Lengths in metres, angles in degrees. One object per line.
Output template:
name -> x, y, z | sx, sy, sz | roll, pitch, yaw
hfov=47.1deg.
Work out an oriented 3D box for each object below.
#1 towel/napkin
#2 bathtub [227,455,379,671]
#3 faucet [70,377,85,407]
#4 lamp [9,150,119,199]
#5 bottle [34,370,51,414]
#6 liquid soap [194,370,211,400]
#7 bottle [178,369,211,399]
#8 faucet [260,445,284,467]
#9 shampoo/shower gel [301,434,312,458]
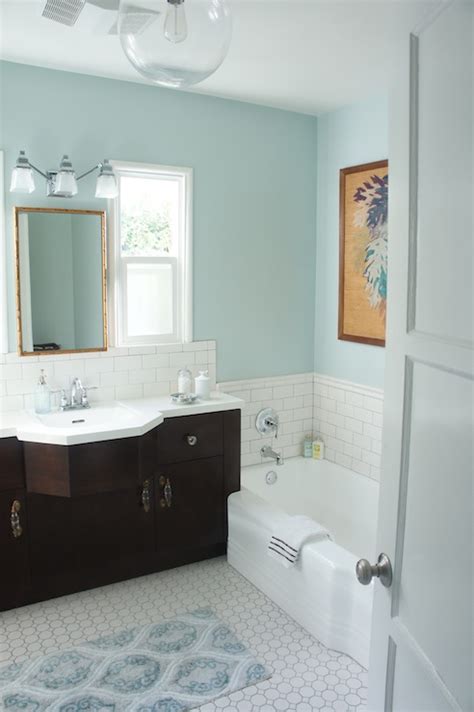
towel/napkin -> 0.294, 0.905, 2.650 | 0.235, 0.152, 0.265 | -3, 6, -33
bathtub -> 0.333, 0.997, 2.784 | 0.493, 0.288, 0.799 | -4, 11, -28
faucet -> -0.861, 0.200, 2.943 | 0.074, 0.149, 0.095 | -1, 5, -18
lamp -> -0.883, -0.947, 2.838 | 0.556, 0.223, 0.308 | -2, 6, -24
bottle -> -1.019, 0.187, 2.867 | 0.082, 0.210, 0.179 | -2, 5, -20
liquid soap -> -0.199, 0.173, 3.196 | 0.074, 0.150, 0.167 | 1, 5, 3
bottle -> -0.257, 0.168, 3.230 | 0.137, 0.140, 0.070 | 5, 10, 27
faucet -> 0.241, 0.680, 3.694 | 0.084, 0.097, 0.174 | -2, 8, -30
shampoo/shower gel -> 0.512, 0.663, 3.975 | 0.089, 0.151, 0.091 | -1, 5, -15
